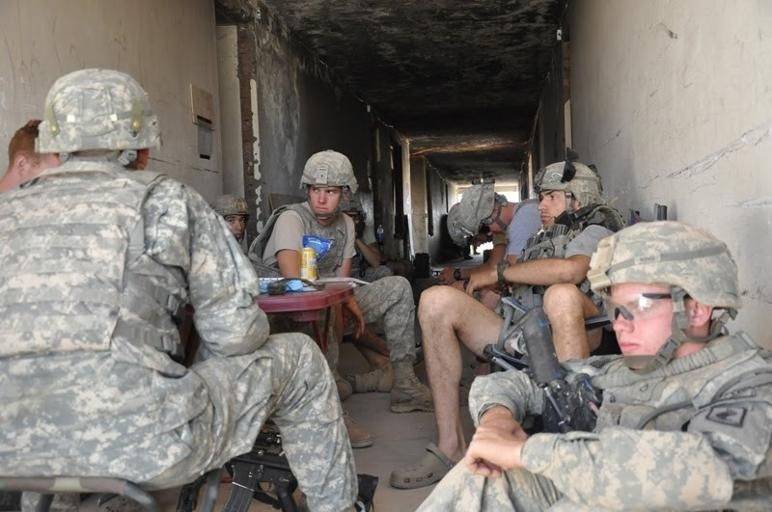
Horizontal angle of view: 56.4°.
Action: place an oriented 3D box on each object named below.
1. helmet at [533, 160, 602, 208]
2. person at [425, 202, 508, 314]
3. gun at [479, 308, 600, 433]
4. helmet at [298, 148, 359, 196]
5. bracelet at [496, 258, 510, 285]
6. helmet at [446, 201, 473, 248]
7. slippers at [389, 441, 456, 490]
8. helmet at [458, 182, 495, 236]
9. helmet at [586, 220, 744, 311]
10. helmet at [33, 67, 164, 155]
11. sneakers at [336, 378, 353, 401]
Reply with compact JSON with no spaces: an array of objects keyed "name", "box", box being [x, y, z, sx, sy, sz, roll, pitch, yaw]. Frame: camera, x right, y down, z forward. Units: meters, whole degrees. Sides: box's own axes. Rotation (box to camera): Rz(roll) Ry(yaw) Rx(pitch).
[{"name":"helmet","box":[1.074,-0.402,4.182,0.310,0.198,0.295,6,4,10]},{"name":"person","box":[0.661,-0.061,5.295,0.767,1.000,0.614,1,11,16]},{"name":"gun","box":[0.591,0.454,2.660,0.121,0.349,0.348,12,29,-22]},{"name":"helmet","box":[-0.358,-0.556,4.795,0.292,0.208,0.302,5,13,8]},{"name":"bracelet","box":[0.625,0.092,3.859,0.042,0.112,0.084,6,6,5]},{"name":"helmet","box":[0.511,-0.214,5.091,0.117,0.292,0.216,13,37,9]},{"name":"slippers","box":[0.196,1.031,3.624,0.433,0.181,0.155,-2,11,-25]},{"name":"helmet","box":[0.607,-0.347,5.039,0.260,0.321,0.226,27,5,-18]},{"name":"helmet","box":[0.956,0.012,2.471,0.385,0.219,0.370,1,-10,9]},{"name":"helmet","box":[-1.136,-0.569,2.883,0.373,0.238,0.371,0,15,-4]},{"name":"sneakers","box":[-0.272,0.897,4.864,0.107,0.139,0.060,-6,-16,-17]}]
